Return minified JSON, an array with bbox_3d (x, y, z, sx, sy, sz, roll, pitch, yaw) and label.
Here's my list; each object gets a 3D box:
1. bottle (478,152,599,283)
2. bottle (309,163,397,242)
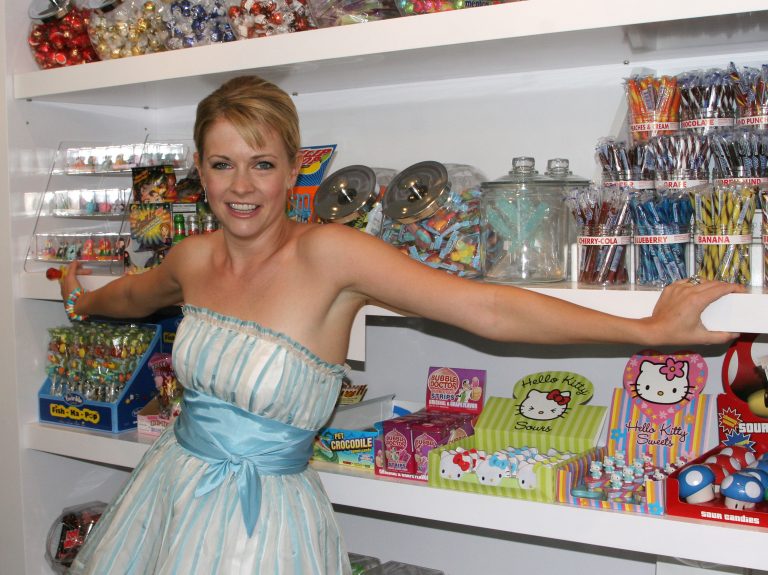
[{"bbox_3d":[0.353,-0.134,1.471,0.198,0.328,0.198,1,1,0],"label":"bottle"},{"bbox_3d":[-0.088,-0.240,1.672,0.049,0.203,0.200,52,1,-44],"label":"bottle"}]
